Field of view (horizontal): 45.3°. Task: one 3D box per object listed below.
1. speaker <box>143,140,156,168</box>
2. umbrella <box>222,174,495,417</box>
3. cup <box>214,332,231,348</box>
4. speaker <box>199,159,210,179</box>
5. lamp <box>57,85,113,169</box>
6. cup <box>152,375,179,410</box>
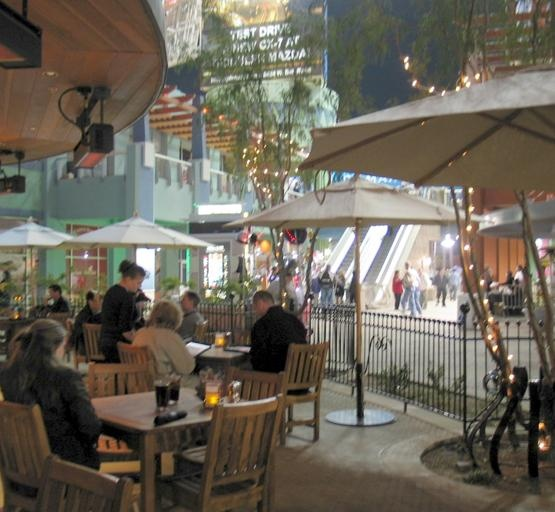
[{"bbox_3d":[-5.009,-3.914,26.104,0.199,1.003,0.724,2,1,17],"label":"speaker"},{"bbox_3d":[0.989,0.223,8.781,2.361,2.825,2.784,-1,-3,9],"label":"umbrella"},{"bbox_3d":[-0.806,1.249,9.758,0.127,0.224,0.275,-1,-1,7],"label":"cup"},{"bbox_3d":[-3.348,-3.991,31.074,0.150,0.784,0.722,-2,4,12],"label":"speaker"},{"bbox_3d":[-2.217,-1.761,7.798,0.501,0.935,1.155,0,0,-15],"label":"lamp"},{"bbox_3d":[-0.904,1.115,5.406,0.174,0.267,0.214,1,-6,-4],"label":"cup"}]
